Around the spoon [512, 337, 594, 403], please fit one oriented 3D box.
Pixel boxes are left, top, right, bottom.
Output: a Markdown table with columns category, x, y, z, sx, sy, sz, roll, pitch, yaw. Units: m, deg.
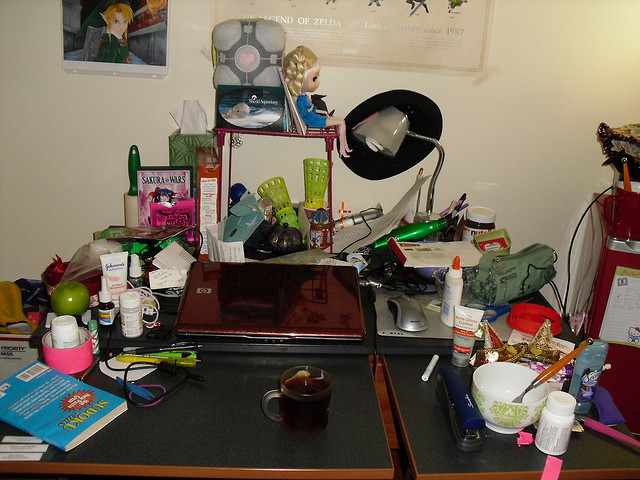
| category | x | y | z | sx | sy | sz | roll | pitch | yaw |
| --- | --- | --- | --- | --- | --- | --- | --- | --- | --- |
| spoon | 0.624 | 0.355 | 1.324 | 0.242 | 0.042 | 0.020 | -42 | 22 | -7 |

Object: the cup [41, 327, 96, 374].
| category | x | y | z | sx | sy | sz | roll | pitch | yaw |
| --- | --- | --- | --- | --- | --- | --- | --- | --- | --- |
| cup | -0.716 | 0.314 | 1.396 | 0.128 | 0.086 | 0.129 | 5 | 16 | -1 |

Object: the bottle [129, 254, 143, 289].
| category | x | y | z | sx | sy | sz | roll | pitch | yaw |
| --- | --- | --- | --- | --- | --- | --- | --- | --- | --- |
| bottle | -0.612 | 0.099 | 1.621 | 0.043 | 0.108 | 0.081 | -6 | 15 | -20 |

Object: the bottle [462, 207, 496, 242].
| category | x | y | z | sx | sy | sz | roll | pitch | yaw |
| --- | --- | --- | --- | --- | --- | --- | --- | --- | --- |
| bottle | 0.608 | -0.062 | 1.959 | 0.122 | 0.135 | 0.125 | -3 | 24 | -7 |

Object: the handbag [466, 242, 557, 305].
| category | x | y | z | sx | sy | sz | roll | pitch | yaw |
| --- | --- | --- | --- | --- | --- | --- | --- | --- | --- |
| handbag | 0.681 | 0.107 | 1.727 | 0.310 | 0.184 | 0.165 | -13 | 26 | -18 |

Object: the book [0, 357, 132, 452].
| category | x | y | z | sx | sy | sz | roll | pitch | yaw |
| --- | --- | --- | --- | --- | --- | --- | --- | --- | --- |
| book | -0.673 | 0.420 | 1.251 | 0.335 | 0.108 | 0.173 | 6 | 16 | 24 |

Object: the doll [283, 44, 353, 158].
| category | x | y | z | sx | sy | sz | roll | pitch | yaw |
| --- | --- | --- | --- | --- | --- | --- | --- | --- | --- |
| doll | 0.002 | -0.548 | 1.968 | 0.260 | 0.441 | 0.205 | -5 | 16 | -3 |

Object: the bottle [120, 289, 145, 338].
| category | x | y | z | sx | sy | sz | roll | pitch | yaw |
| --- | --- | --- | --- | --- | --- | --- | --- | --- | --- |
| bottle | -0.562 | 0.221 | 1.464 | 0.070 | 0.126 | 0.071 | 4 | 15 | -1 |

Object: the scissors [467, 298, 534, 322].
| category | x | y | z | sx | sy | sz | roll | pitch | yaw |
| --- | --- | --- | --- | --- | --- | --- | --- | --- | --- |
| scissors | 0.589 | 0.205 | 1.629 | 0.175 | 0.025 | 0.097 | -6 | 15 | -17 |

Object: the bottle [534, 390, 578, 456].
| category | x | y | z | sx | sy | sz | roll | pitch | yaw |
| --- | --- | --- | --- | --- | --- | --- | --- | --- | --- |
| bottle | 0.585 | 0.452 | 1.225 | 0.077 | 0.142 | 0.080 | 4 | 18 | -1 |

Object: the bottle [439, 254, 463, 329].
| category | x | y | z | sx | sy | sz | roll | pitch | yaw |
| --- | --- | --- | --- | --- | --- | --- | --- | --- | --- |
| bottle | 0.412 | 0.162 | 1.544 | 0.067 | 0.216 | 0.252 | 3 | 15 | 16 |

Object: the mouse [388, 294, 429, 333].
| category | x | y | z | sx | sy | sz | roll | pitch | yaw |
| --- | --- | --- | --- | --- | --- | --- | --- | --- | --- |
| mouse | 0.282 | 0.218 | 1.588 | 0.119 | 0.063 | 0.190 | 1 | 20 | -14 |

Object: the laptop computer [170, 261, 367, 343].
| category | x | y | z | sx | sy | sz | roll | pitch | yaw |
| --- | --- | --- | --- | --- | --- | --- | --- | --- | --- |
| laptop computer | -0.149 | 0.181 | 1.542 | 0.553 | 0.153 | 0.301 | -1 | 15 | 0 |

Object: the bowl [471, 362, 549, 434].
| category | x | y | z | sx | sy | sz | roll | pitch | yaw |
| --- | --- | --- | --- | --- | --- | --- | --- | --- | --- |
| bowl | 0.482 | 0.424 | 1.273 | 0.153 | 0.106 | 0.157 | -1 | 18 | 0 |

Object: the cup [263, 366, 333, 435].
| category | x | y | z | sx | sy | sz | roll | pitch | yaw |
| --- | --- | --- | --- | --- | --- | --- | --- | --- | --- |
| cup | -0.065 | 0.419 | 1.246 | 0.182 | 0.132 | 0.123 | -4 | 15 | -18 |

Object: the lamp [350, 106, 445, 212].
| category | x | y | z | sx | sy | sz | roll | pitch | yaw |
| --- | --- | --- | --- | --- | --- | --- | --- | --- | --- |
| lamp | 0.308 | -0.335 | 2.017 | 0.371 | 0.414 | 0.252 | 0 | 14 | 3 |
